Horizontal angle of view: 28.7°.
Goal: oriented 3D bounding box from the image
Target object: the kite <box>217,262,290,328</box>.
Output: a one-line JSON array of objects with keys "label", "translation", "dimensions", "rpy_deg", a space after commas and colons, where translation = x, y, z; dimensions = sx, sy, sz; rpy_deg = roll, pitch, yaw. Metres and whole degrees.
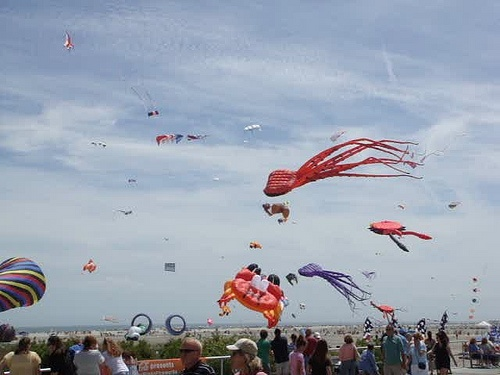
[{"label": "kite", "translation": [0.272, 4.465, 41.212], "dimensions": [2.554, 2.815, 4.101], "rpy_deg": [-1, -12, 0]}]

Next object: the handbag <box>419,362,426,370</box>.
[{"label": "handbag", "translation": [6.373, 6.557, 36.051], "dimensions": [0.325, 0.244, 0.075], "rpy_deg": [-2, -4, 7]}]

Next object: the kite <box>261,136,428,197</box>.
[{"label": "kite", "translation": [4.703, -0.782, 40.525], "dimensions": [8.423, 1.892, 2.236], "rpy_deg": [-1, 0, 2]}]
